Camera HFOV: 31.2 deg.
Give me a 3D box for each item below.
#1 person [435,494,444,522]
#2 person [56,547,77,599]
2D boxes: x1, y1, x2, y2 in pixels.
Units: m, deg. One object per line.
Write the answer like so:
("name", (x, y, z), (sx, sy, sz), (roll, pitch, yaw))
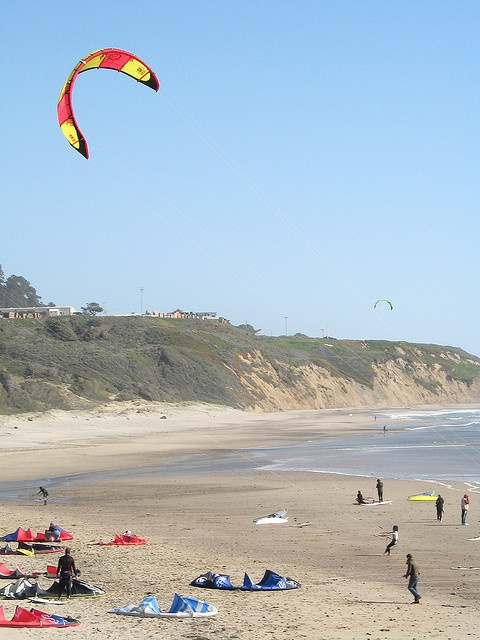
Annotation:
("person", (6.048, 5.664, 26.088), (0.211, 0.743, 0.914), (1, -5, 13))
("person", (-3.471, 5.048, 17.184), (0.333, 0.881, 0.788), (3, -5, -9))
